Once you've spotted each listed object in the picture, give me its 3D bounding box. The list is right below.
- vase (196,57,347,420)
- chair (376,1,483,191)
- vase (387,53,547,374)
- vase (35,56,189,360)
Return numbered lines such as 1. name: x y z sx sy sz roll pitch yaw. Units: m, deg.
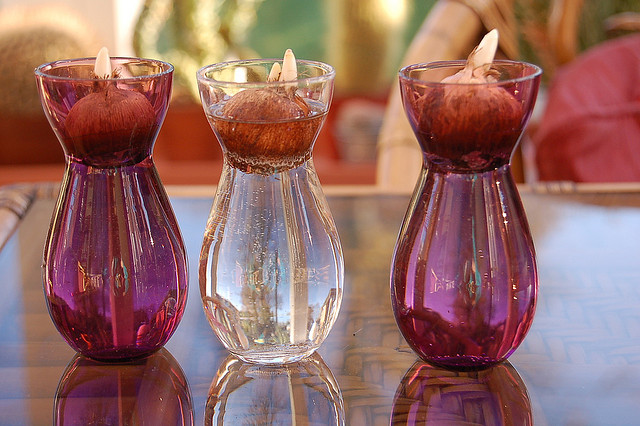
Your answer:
1. vase: -0.047 0.021 0.605 0.133 0.283 0.177 -1 28 1
2. chair: 0.165 -0.174 1.079 0.233 0.245 0.284 2 -13 7
3. vase: 0.132 0.008 0.633 0.147 0.265 0.133 1 14 11
4. vase: -0.192 0.005 0.610 0.135 0.256 0.105 -5 29 -6
